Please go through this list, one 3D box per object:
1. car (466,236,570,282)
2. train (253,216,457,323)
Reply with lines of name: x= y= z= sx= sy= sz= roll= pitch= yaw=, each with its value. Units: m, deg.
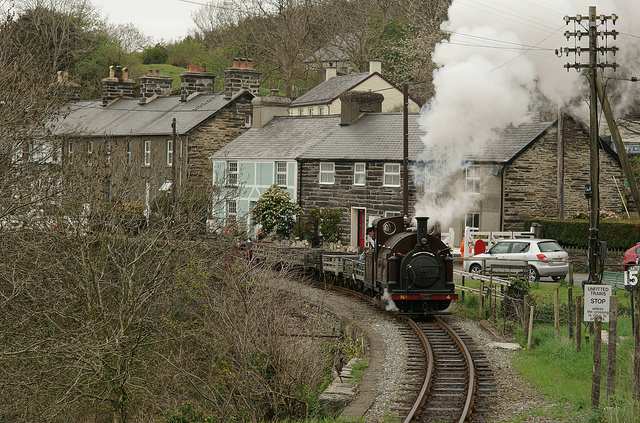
car: x=7.905 y=1.947 z=30.720 sx=2.137 sy=1.900 sz=3.989 roll=1 pitch=0 yaw=-39
train: x=0.630 y=1.896 z=31.633 sx=2.895 sy=3.903 sz=17.185 roll=0 pitch=1 yaw=-11
